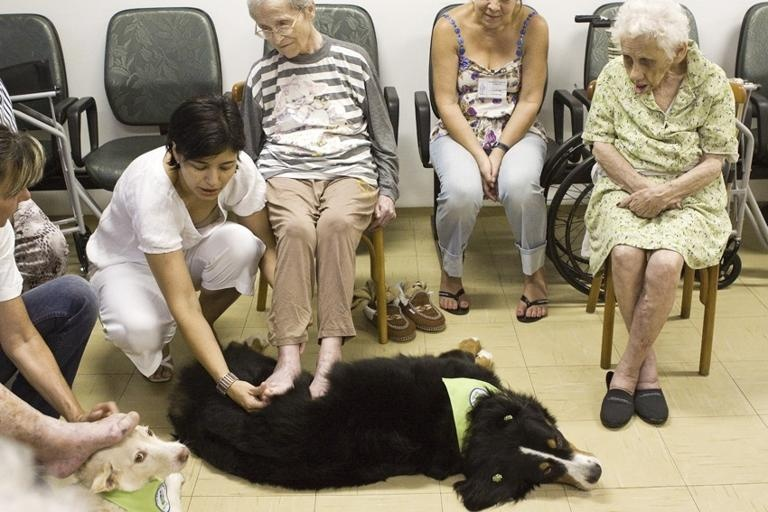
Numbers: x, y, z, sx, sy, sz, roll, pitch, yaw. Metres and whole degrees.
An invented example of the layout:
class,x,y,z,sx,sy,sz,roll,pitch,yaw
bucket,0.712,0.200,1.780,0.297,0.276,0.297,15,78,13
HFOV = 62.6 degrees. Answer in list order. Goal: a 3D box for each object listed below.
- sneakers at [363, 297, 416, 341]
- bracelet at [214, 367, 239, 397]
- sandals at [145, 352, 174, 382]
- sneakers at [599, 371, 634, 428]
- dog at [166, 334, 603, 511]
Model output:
class,x,y,z,sx,sy,sz,roll,pitch,yaw
sneakers,0.018,0.284,3.107,0.117,0.123,0.322,-27,46,-23
bracelet,-0.589,0.468,2.362,0.060,0.097,0.095,32,29,12
sandals,-0.978,0.486,2.775,0.079,0.063,0.149,0,3,-7
sneakers,0.997,0.597,2.678,0.124,0.109,0.360,6,19,23
dog,0.008,0.630,2.305,1.115,0.372,0.748,-3,52,-7
